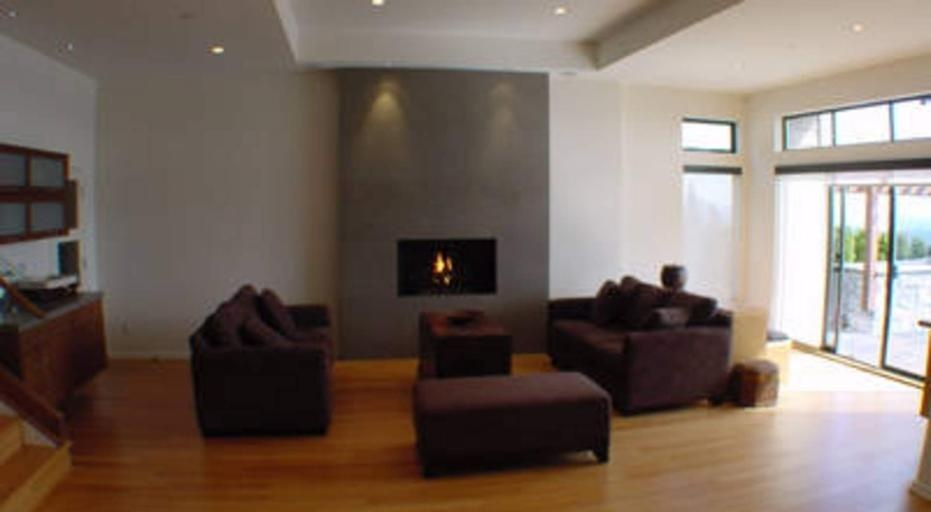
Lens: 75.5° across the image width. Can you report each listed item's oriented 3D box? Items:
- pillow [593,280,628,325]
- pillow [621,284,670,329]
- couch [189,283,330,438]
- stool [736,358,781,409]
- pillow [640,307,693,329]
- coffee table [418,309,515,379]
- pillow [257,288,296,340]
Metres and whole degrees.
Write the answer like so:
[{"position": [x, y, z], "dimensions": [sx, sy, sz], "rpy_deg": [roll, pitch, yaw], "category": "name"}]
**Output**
[{"position": [1.210, 0.396, 5.061], "dimensions": [0.082, 0.319, 0.328], "rpy_deg": [23, 14, -26], "category": "pillow"}, {"position": [1.477, 0.480, 5.074], "dimensions": [0.362, 0.519, 0.310], "rpy_deg": [-9, 19, 6], "category": "pillow"}, {"position": [-1.534, 0.723, 4.773], "dimensions": [0.970, 0.722, 1.626], "rpy_deg": [1, 7, -12], "category": "couch"}, {"position": [2.162, 0.950, 4.523], "dimensions": [0.360, 0.333, 0.288], "rpy_deg": [3, -4, -16], "category": "stool"}, {"position": [1.501, 0.459, 4.457], "dimensions": [0.222, 0.093, 0.201], "rpy_deg": [1, 4, 5], "category": "pillow"}, {"position": [0.077, 0.714, 4.819], "dimensions": [0.581, 0.348, 0.782], "rpy_deg": [0, 4, 5], "category": "coffee table"}, {"position": [-1.365, 0.405, 4.275], "dimensions": [0.093, 0.327, 0.259], "rpy_deg": [-22, 13, 9], "category": "pillow"}]
